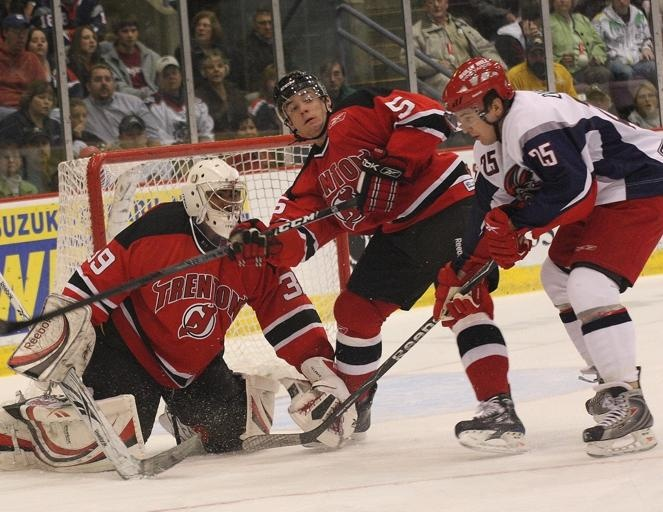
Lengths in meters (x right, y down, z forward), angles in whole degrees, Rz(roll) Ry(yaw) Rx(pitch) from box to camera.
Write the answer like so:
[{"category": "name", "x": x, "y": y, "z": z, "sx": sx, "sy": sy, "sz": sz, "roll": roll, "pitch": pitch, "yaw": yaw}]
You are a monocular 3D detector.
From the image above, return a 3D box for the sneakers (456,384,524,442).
[{"category": "sneakers", "x": 0.592, "y": 0.589, "z": 3.315, "sx": 0.348, "sy": 0.104, "sz": 0.224, "roll": -3, "pitch": 34, "yaw": 6}]

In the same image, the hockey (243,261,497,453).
[{"category": "hockey", "x": 0.161, "y": 0.464, "z": 3.910, "sx": 1.248, "sy": 0.135, "sz": 0.137, "roll": -34, "pitch": -3, "yaw": -3}]

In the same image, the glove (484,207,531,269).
[{"category": "glove", "x": 0.640, "y": -0.053, "z": 3.380, "sx": 0.103, "sy": 0.214, "sz": 0.213, "roll": -26, "pitch": 31, "yaw": 6}]

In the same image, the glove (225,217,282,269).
[{"category": "glove", "x": -0.310, "y": -0.051, "z": 3.610, "sx": 0.207, "sy": 0.199, "sz": 0.092, "roll": -41, "pitch": 8, "yaw": -18}]

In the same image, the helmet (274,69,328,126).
[{"category": "helmet", "x": -0.146, "y": -0.701, "z": 3.867, "sx": 0.196, "sy": 0.196, "sz": 0.218, "roll": -41, "pitch": -12, "yaw": 7}]

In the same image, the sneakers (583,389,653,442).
[{"category": "sneakers", "x": 1.006, "y": 0.567, "z": 3.229, "sx": 0.252, "sy": 0.171, "sz": 0.106, "roll": -4, "pitch": 11, "yaw": -13}]

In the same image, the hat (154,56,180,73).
[{"category": "hat", "x": -1.169, "y": -1.380, "z": 6.475, "sx": 0.177, "sy": 0.125, "sz": 0.040, "roll": -9, "pitch": 13, "yaw": -37}]

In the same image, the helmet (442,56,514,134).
[{"category": "helmet", "x": 0.533, "y": -0.614, "z": 3.451, "sx": 0.319, "sy": 0.255, "sz": 0.224, "roll": -12, "pitch": 15, "yaw": 11}]
